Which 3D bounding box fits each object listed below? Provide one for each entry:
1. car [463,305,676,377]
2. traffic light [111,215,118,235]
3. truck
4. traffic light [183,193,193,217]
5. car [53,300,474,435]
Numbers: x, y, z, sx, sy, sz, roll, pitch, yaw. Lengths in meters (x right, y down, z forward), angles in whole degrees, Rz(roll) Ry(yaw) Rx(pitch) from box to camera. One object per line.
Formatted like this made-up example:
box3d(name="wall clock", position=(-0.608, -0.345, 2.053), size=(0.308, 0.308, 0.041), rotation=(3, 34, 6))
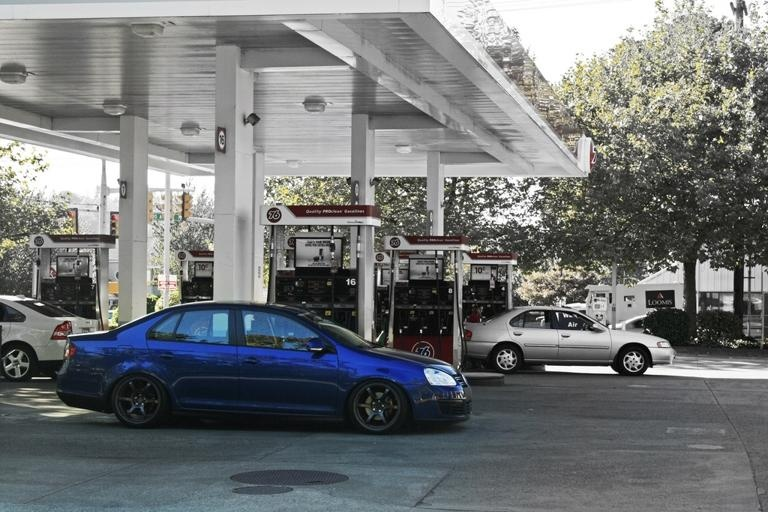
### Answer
box3d(name="car", position=(5.174, 2.287, 24.549), size=(5.483, 1.633, 2.316), rotation=(-1, -2, 2))
box3d(name="traffic light", position=(-13.080, -1.558, 41.554), size=(0.269, 1.071, 2.580), rotation=(1, 0, -20))
box3d(name="truck", position=(11.714, 2.243, 40.122), size=(2.514, 1.736, 1.459), rotation=(-1, -4, 14))
box3d(name="traffic light", position=(-10.023, -2.511, 43.295), size=(0.417, 1.214, 1.092), rotation=(1, 0, -19))
box3d(name="car", position=(-2.166, 1.914, 15.102), size=(6.188, 1.847, 2.665), rotation=(0, -4, 5))
